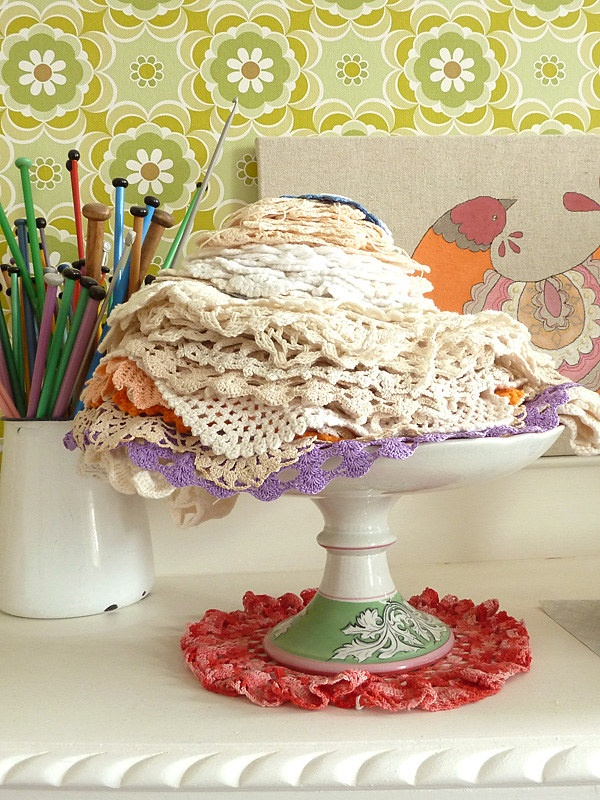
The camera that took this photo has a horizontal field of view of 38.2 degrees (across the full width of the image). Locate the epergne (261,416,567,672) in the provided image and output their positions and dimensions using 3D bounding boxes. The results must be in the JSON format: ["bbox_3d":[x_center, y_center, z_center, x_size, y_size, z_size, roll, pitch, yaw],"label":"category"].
[{"bbox_3d":[0.082,0.114,0.733,0.280,0.132,0.235,-1,-3,-5],"label":"epergne"}]

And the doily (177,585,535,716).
[{"bbox_3d":[0.047,0.212,0.787,0.314,0.036,0.274,-2,8,9],"label":"doily"}]
